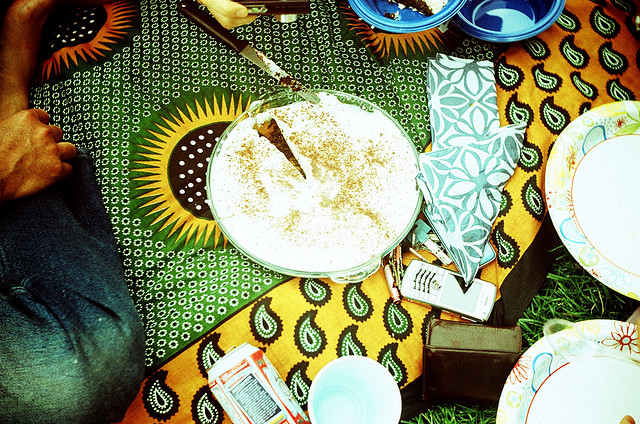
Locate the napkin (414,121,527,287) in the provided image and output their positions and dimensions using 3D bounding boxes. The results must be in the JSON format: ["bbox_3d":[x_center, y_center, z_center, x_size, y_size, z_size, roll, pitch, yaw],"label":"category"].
[{"bbox_3d":[0.338,-0.093,1.443,0.285,0.072,0.487,12,-73,-5],"label":"napkin"}]
